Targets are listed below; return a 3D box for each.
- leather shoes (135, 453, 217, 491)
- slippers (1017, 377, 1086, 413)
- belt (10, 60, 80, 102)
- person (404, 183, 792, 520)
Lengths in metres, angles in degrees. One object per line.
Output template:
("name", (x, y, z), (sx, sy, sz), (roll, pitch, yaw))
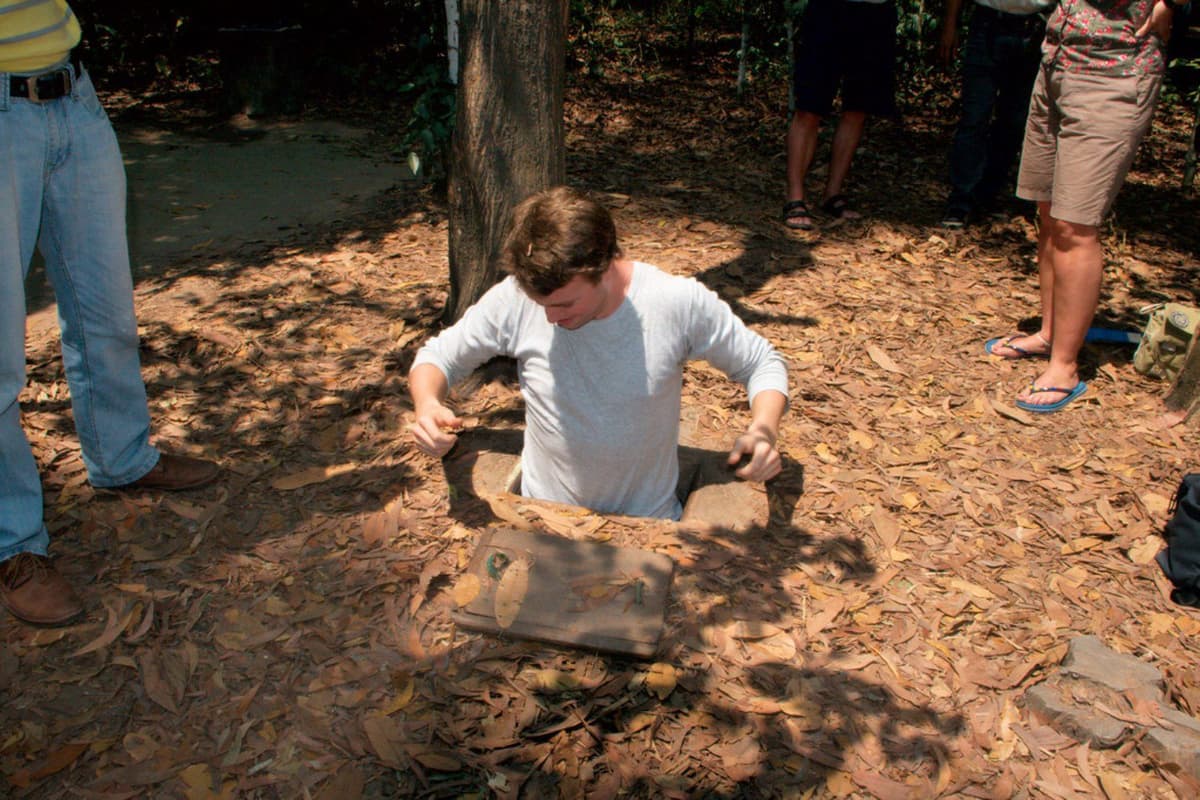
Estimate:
("leather shoes", (-2.214, 0.373, 4.519), (0.468, 0.177, 0.153), (-4, 41, -7))
("slippers", (2.670, -0.016, 5.207), (0.380, 0.096, 0.152), (-14, 54, 10))
("belt", (-2.407, -1.404, 3.881), (0.112, 0.151, 0.365), (8, 28, 6))
("person", (-0.018, -0.106, 3.996), (1.714, 1.600, 0.589), (6, 31, 3))
